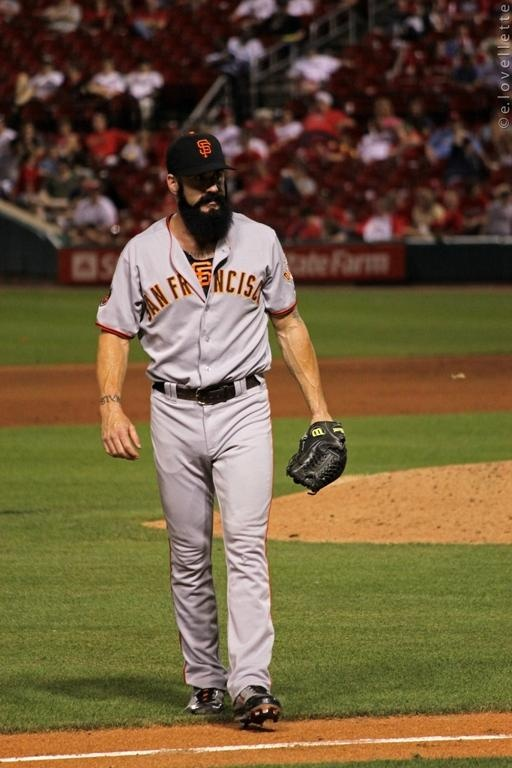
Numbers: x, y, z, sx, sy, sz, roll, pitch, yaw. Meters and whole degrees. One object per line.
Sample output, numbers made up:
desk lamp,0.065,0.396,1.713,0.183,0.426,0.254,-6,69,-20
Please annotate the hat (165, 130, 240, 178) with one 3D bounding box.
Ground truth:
hat,-0.156,-0.673,3.230,0.144,0.094,0.183,-9,13,-29

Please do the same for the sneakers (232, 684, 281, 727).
sneakers,-0.007,0.913,3.114,0.083,0.091,0.182,5,-18,-13

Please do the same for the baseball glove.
baseball glove,0.167,0.227,3.410,0.186,0.221,0.098,26,10,-32

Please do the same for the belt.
belt,-0.139,0.018,3.267,0.327,0.079,0.138,-3,8,-1

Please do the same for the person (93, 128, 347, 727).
person,-0.117,0.244,3.342,0.616,1.511,0.620,2,11,33
